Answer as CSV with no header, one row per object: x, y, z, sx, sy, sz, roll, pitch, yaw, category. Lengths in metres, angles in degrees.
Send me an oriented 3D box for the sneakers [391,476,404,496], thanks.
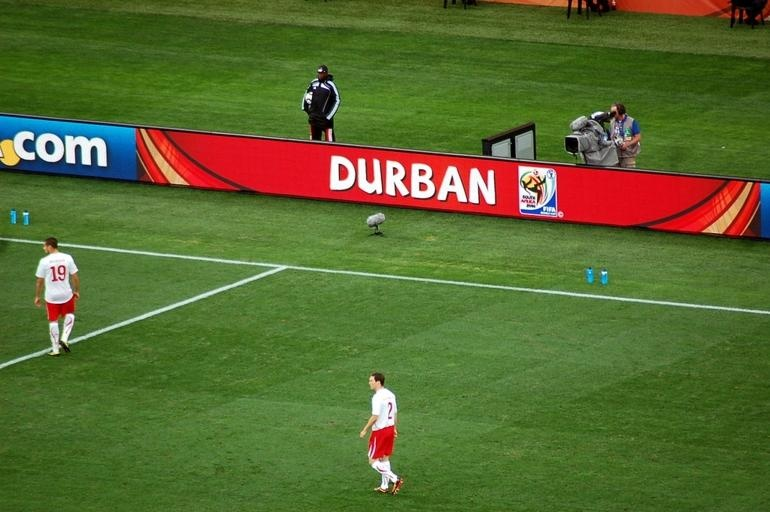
0.200,4.308,30.085,0.197,0.352,0.133,13,24,-15,sneakers

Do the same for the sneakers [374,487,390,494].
-0.106,4.396,30.103,0.218,0.086,0.115,8,7,41,sneakers

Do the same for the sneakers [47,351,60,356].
-6.840,2.054,33.613,0.260,0.095,0.086,9,10,27,sneakers

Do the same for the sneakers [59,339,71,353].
-6.653,1.926,33.703,0.134,0.332,0.154,-28,5,0,sneakers

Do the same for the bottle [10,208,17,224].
-9.090,-0.959,39.783,0.148,0.341,0.555,0,8,-14,bottle

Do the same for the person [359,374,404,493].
-0.074,3.317,29.996,0.755,2.234,0.496,2,9,0,person

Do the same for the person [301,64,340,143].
-1.724,-4.010,42.669,0.839,1.926,0.525,7,10,27,person

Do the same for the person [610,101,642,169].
5.791,-2.958,39.853,0.712,1.582,0.892,3,9,8,person
